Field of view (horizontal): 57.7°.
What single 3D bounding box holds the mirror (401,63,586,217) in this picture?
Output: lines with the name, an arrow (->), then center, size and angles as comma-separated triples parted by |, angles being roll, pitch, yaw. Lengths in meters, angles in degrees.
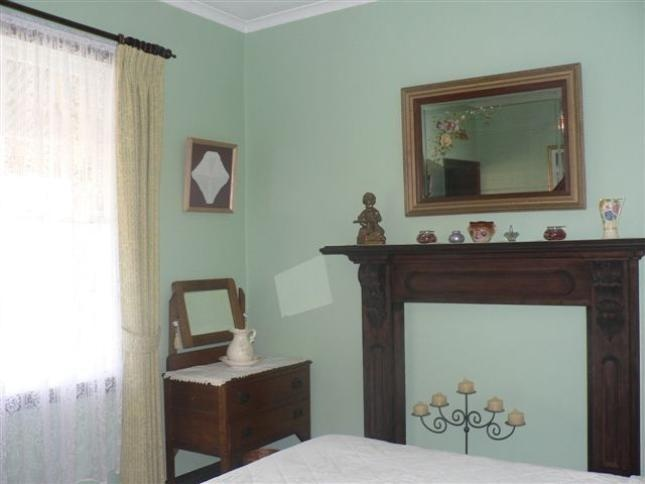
mirror -> 1.209, -0.686, 3.982 | 1.111, 0.882, 0.082 | -1, 3, 24

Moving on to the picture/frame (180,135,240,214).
picture/frame -> -0.914, -0.535, 4.631 | 0.050, 0.733, 0.641 | 2, -2, 38

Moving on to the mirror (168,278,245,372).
mirror -> -0.875, 0.643, 4.548 | 0.163, 0.624, 0.739 | -1, 0, 39

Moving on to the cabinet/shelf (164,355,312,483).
cabinet/shelf -> -0.599, 1.166, 4.441 | 0.733, 0.925, 1.280 | -1, -1, 30
